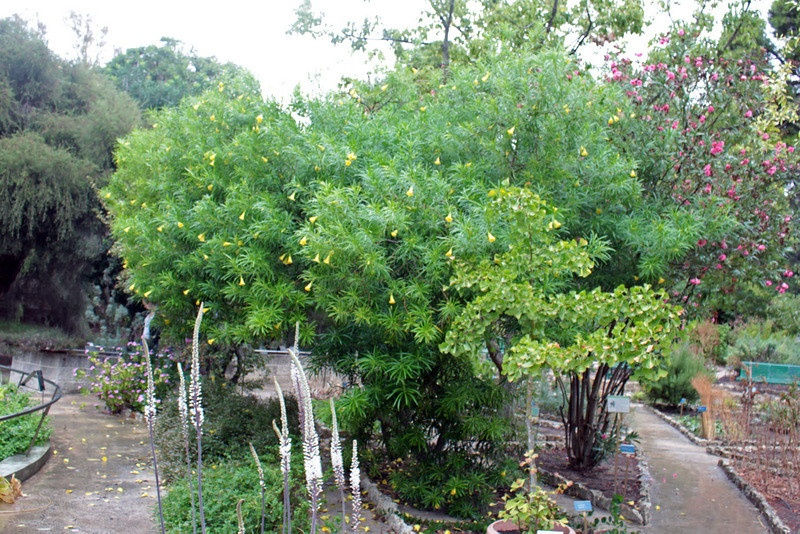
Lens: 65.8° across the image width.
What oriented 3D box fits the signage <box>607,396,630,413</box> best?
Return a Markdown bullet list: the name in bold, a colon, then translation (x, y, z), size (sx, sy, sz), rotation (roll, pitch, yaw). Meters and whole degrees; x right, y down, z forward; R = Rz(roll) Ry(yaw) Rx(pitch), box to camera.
- **signage**: translation (3.429, 2.139, 9.771), size (0.294, 0.220, 0.304), rotation (0, 0, 9)
